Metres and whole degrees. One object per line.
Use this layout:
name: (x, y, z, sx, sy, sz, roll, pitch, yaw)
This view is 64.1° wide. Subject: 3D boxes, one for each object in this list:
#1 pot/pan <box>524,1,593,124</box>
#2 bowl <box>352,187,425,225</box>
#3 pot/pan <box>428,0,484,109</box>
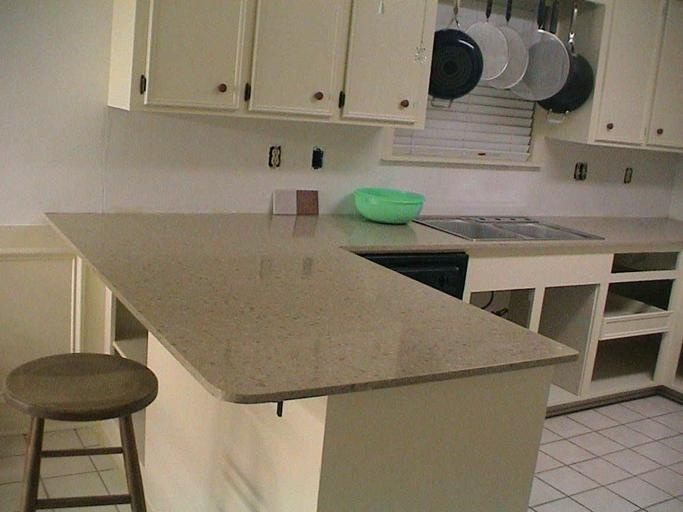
pot/pan: (1.367, -1.207, 3.329, 0.521, 0.678, 0.308, -13, 23, -41)
bowl: (0.254, -0.284, 3.122, 0.392, 0.183, 0.365, 3, 17, -1)
pot/pan: (0.658, -1.107, 3.050, 0.325, 0.543, 0.076, 1, 16, -9)
